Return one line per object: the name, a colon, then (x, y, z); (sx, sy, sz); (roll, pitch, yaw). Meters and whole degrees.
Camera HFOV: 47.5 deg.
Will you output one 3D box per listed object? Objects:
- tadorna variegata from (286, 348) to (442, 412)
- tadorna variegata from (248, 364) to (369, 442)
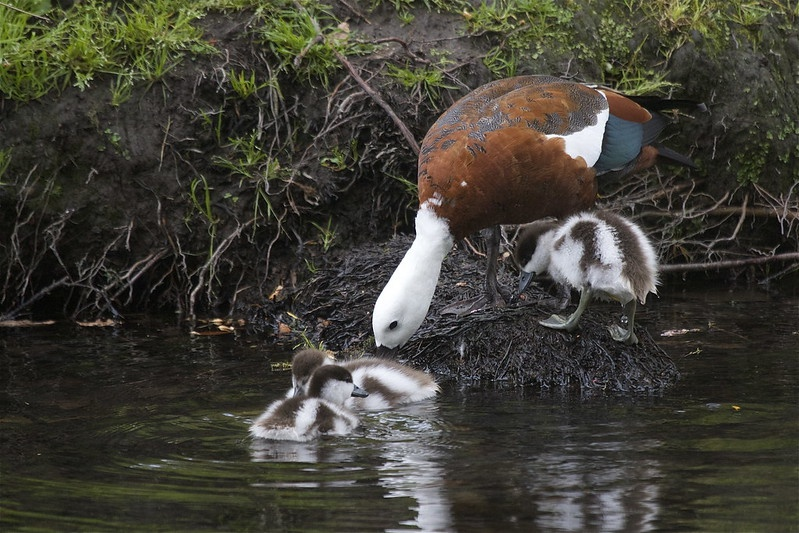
tadorna variegata: (-0.208, 0.822, 6.760); (1.213, 0.400, 0.422); (0, -1, -23)
tadorna variegata: (-0.638, 0.941, 6.346); (0.569, 0.438, 0.944); (11, 5, 32)
